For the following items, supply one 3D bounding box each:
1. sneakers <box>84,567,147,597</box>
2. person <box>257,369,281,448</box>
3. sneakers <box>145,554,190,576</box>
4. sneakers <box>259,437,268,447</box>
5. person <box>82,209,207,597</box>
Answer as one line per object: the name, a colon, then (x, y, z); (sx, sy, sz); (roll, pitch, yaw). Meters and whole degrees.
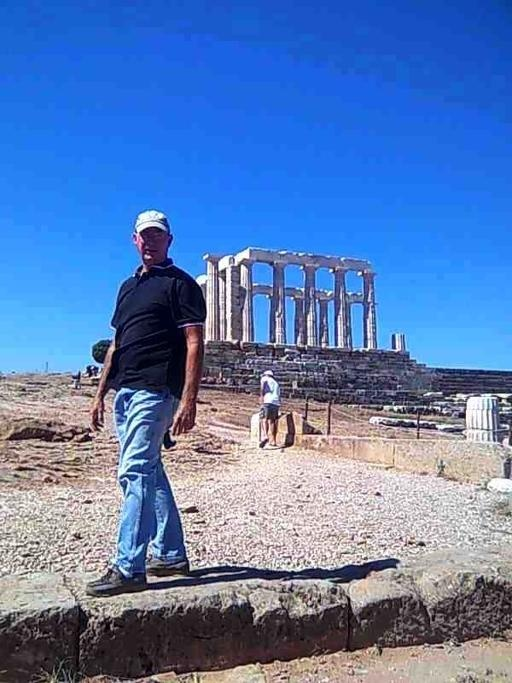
sneakers: (-0.589, 1.009, 2.244); (0.266, 0.124, 0.092); (10, -28, -20)
person: (0.233, 1.228, 9.896); (0.374, 1.344, 0.924); (0, -3, 1)
sneakers: (-0.440, 1.129, 2.685); (0.222, 0.098, 0.083); (4, -16, -5)
sneakers: (0.137, 1.818, 9.548); (0.071, 0.214, 0.077); (3, 29, -16)
person: (-0.529, 0.227, 2.667); (0.580, 1.894, 0.833); (1, -3, -17)
